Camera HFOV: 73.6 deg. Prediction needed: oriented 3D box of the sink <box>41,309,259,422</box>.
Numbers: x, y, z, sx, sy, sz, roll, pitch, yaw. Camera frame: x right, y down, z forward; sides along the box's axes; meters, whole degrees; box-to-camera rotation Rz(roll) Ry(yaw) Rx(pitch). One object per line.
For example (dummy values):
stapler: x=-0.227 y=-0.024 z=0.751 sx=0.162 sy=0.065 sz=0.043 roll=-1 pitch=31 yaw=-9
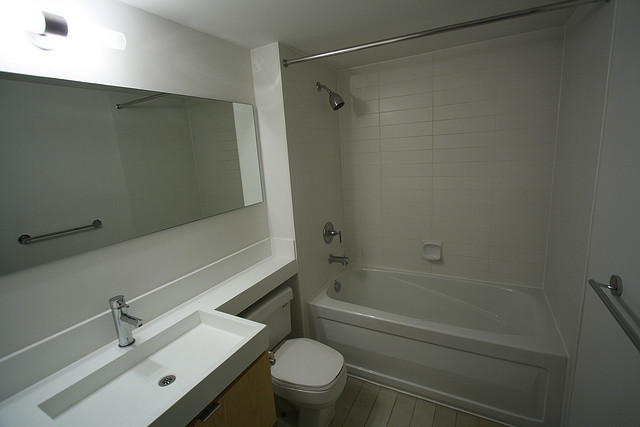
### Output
sink: x=-0.999 y=0.928 z=2.613 sx=0.849 sy=0.850 sz=0.309 roll=-7 pitch=-76 yaw=22

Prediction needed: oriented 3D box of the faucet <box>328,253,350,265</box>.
faucet: x=0.188 y=0.438 z=4.127 sx=0.169 sy=0.095 sz=0.086 roll=3 pitch=-85 yaw=22

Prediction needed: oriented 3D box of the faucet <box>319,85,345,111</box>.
faucet: x=0.132 y=-1.006 z=3.714 sx=0.143 sy=0.194 sz=0.199 roll=-9 pitch=-76 yaw=23

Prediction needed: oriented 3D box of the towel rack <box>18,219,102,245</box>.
towel rack: x=-1.539 y=0.105 z=2.495 sx=0.201 sy=0.405 sz=0.063 roll=12 pitch=-78 yaw=32

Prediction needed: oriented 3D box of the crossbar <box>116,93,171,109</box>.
crossbar: x=-1.153 y=-0.725 z=2.758 sx=0.047 sy=0.307 sz=0.051 roll=57 pitch=-35 yaw=16
